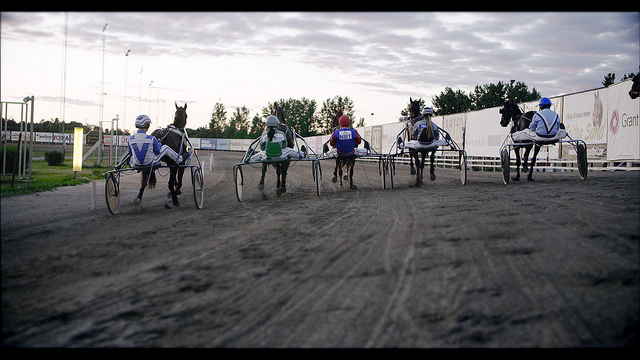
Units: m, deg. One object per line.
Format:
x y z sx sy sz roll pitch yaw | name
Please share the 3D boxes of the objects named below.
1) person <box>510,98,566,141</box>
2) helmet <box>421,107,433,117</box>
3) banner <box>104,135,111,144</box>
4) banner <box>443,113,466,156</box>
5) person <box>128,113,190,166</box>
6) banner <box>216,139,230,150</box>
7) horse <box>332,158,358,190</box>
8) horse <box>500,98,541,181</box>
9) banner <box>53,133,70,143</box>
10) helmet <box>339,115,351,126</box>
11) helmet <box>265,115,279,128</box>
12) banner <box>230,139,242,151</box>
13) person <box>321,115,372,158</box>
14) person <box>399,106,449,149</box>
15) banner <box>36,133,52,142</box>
7.721 -2.066 14.303 1.259 0.865 1.646 -1 3 3 | person
3.859 -2.482 14.395 0.343 0.300 0.391 -2 7 8 | helmet
-14.724 -2.822 27.643 0.365 0.568 1.183 -6 8 -26 | banner
8.661 -2.887 25.884 1.400 2.881 6.107 -1 7 17 | banner
-4.600 -1.114 11.110 1.444 1.442 0.797 -8 9 -39 | person
-20.743 -7.747 85.472 3.332 2.193 1.087 2 8 32 | banner
0.973 -0.684 15.349 0.586 1.577 2.003 12 5 -4 | horse
7.954 -2.151 15.883 2.455 1.740 0.552 -12 15 -28 | horse
-44.204 -7.320 68.362 2.290 1.733 7.156 -7 8 -33 | banner
0.856 -2.151 14.365 0.339 0.371 0.500 -3 7 0 | helmet
-1.549 -1.899 12.831 0.413 0.362 0.304 -13 19 -42 | helmet
-17.680 -7.426 83.996 2.798 2.442 1.442 0 -8 4 | banner
0.938 -1.578 14.493 1.371 1.106 1.786 0 11 0 | person
3.714 -1.881 14.275 1.465 1.472 0.544 -1 7 10 | person
-48.925 -7.609 70.689 2.766 1.557 0.270 -1 -17 -7 | banner
